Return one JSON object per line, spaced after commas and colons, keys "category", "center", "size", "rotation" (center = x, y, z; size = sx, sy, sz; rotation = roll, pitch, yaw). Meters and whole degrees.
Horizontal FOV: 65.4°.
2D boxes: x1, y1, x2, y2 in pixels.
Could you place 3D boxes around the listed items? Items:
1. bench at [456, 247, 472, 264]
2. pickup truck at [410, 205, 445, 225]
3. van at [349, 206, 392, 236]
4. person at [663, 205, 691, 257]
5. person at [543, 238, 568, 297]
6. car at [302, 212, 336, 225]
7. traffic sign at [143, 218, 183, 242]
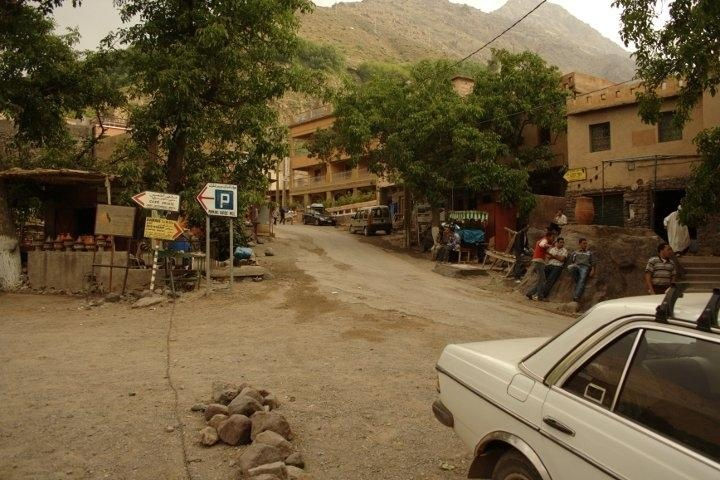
{"category": "bench", "center": [4.891, 0.725, 26.145], "size": [0.711, 1.022, 0.692], "rotation": [-1, 3, 4]}
{"category": "pickup truck", "center": [4.258, -1.469, 34.901], "size": [1.927, 1.028, 1.146], "rotation": [-7, 6, 13]}
{"category": "van", "center": [0.806, -1.349, 38.576], "size": [1.904, 1.993, 2.655], "rotation": [-6, 12, -31]}
{"category": "person", "center": [11.682, -0.284, 20.562], "size": [0.811, 1.629, 0.990], "rotation": [2, 11, 13]}
{"category": "person", "center": [6.076, 0.929, 17.441], "size": [0.496, 1.611, 0.639], "rotation": [23, -6, 34]}
{"category": "car", "center": [-3.486, -1.694, 47.219], "size": [1.124, 0.830, 2.411], "rotation": [1, -2, -35]}
{"category": "traffic sign", "center": [-5.636, -0.272, 15.974], "size": [0.897, 0.551, 0.128], "rotation": [5, -11, -19]}
